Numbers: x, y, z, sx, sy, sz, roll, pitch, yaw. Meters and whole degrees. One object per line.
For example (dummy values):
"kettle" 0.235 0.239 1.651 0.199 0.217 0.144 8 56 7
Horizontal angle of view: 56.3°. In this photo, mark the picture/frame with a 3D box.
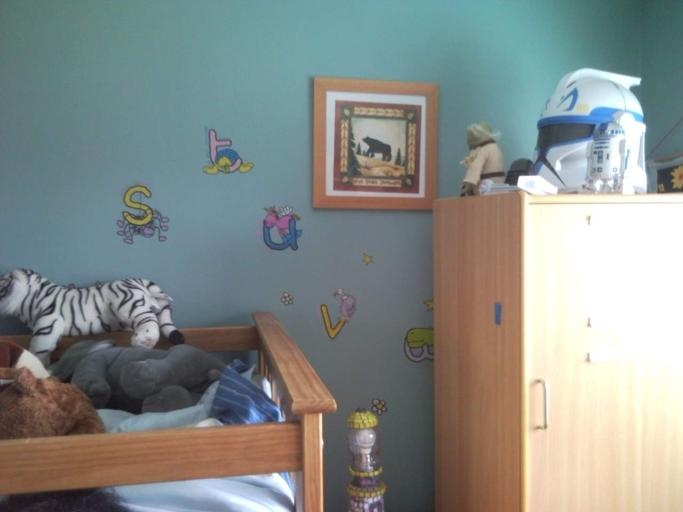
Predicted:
"picture/frame" 0.154 -0.475 2.783 0.497 0.543 0.028 2 -13 2
